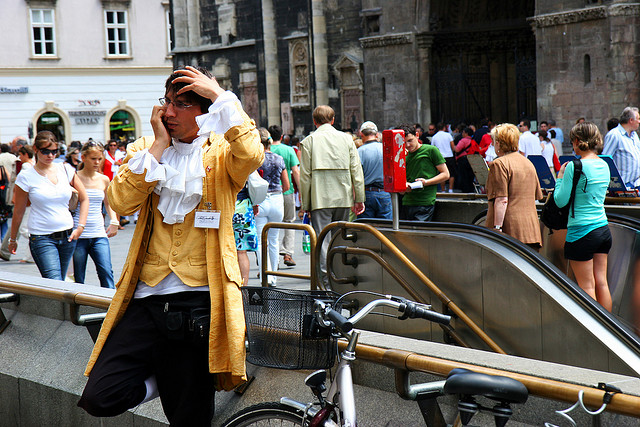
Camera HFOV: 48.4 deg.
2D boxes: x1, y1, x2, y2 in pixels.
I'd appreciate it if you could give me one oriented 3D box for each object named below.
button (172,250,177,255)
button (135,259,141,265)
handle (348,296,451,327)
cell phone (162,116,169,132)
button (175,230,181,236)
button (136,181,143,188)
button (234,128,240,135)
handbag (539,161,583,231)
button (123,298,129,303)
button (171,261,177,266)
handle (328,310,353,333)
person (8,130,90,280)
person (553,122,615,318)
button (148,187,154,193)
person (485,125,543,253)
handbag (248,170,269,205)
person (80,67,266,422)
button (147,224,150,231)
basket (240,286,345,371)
[{"bbox_3d":[-0.903,0.244,4.448,0.024,0.024,0.007,-1,-10,-3],"label":"button"},{"bbox_3d":[-1.134,0.303,4.468,0.027,0.033,0.005,-4,11,-5],"label":"button"},{"bbox_3d":[0.417,0.543,3.926,0.603,0.189,0.122,13,-5,-27],"label":"handle"},{"bbox_3d":[-0.972,-0.572,4.513,0.018,0.064,0.066,-26,1,-8],"label":"cell phone"},{"bbox_3d":[-0.887,0.121,4.477,0.032,0.032,0.007,3,-1,-3],"label":"button"},{"bbox_3d":[-1.118,-0.182,4.429,0.038,0.036,0.008,-2,11,2],"label":"button"},{"bbox_3d":[-0.506,-0.498,4.339,0.031,0.031,0.007,11,6,1],"label":"button"},{"bbox_3d":[2.634,-0.114,7.759,0.435,0.742,0.530,12,-12,-1],"label":"handbag"},{"bbox_3d":[-1.211,0.539,4.448,0.031,0.032,0.009,1,-4,-10],"label":"button"},{"bbox_3d":[-0.905,0.311,4.433,0.026,0.027,0.006,1,-5,-5],"label":"button"},{"bbox_3d":[0.105,0.565,3.810,0.054,0.054,0.180,-45,31,-4],"label":"handle"},{"bbox_3d":[-3.083,0.060,8.181,0.875,1.360,0.846,-6,12,-18],"label":"person"},{"bbox_3d":[2.847,0.084,7.471,0.693,2.010,0.584,-4,11,-8],"label":"person"},{"bbox_3d":[-1.063,-0.149,4.488,0.007,0.028,0.027,3,5,45],"label":"button"},{"bbox_3d":[2.122,-0.266,7.740,0.617,1.356,0.673,-3,11,-3],"label":"person"},{"bbox_3d":[-0.770,-0.308,8.964,0.223,0.288,0.413,-3,51,-10],"label":"handbag"},{"bbox_3d":[-0.888,0.300,4.472,1.142,2.374,0.658,-4,11,-6],"label":"person"},{"bbox_3d":[-1.085,0.090,4.519,0.005,0.019,0.014,-5,2,15],"label":"button"},{"bbox_3d":[-0.198,0.657,4.212,0.598,0.437,0.340,2,-2,30],"label":"basket"}]
